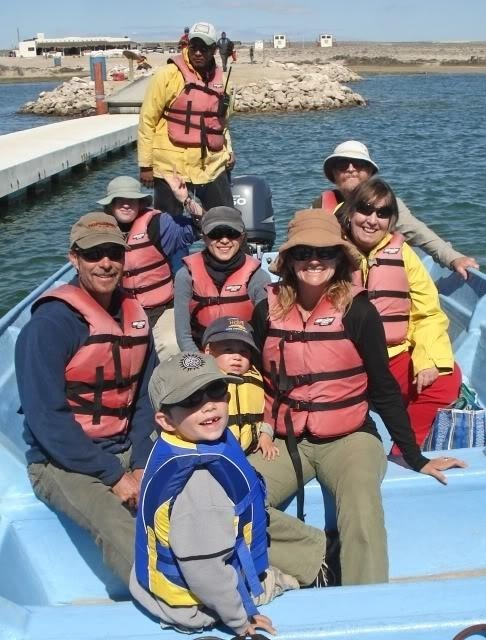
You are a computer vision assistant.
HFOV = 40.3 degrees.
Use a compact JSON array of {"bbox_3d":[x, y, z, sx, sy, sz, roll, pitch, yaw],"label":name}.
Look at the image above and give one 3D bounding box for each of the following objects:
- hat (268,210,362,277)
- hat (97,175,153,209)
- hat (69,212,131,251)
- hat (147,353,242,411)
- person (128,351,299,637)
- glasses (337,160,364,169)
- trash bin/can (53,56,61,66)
[{"bbox_3d":[0.285,-0.320,2.715,0.289,0.144,0.309,-1,0,5],"label":"hat"},{"bbox_3d":[-0.742,-0.759,4.019,0.277,0.110,0.263,6,13,32],"label":"hat"},{"bbox_3d":[-0.599,-0.366,2.706,0.187,0.111,0.237,0,4,-19],"label":"hat"},{"bbox_3d":[-0.151,0.180,1.915,0.181,0.102,0.219,-15,-10,-30],"label":"hat"},{"bbox_3d":[-0.101,0.559,1.932,0.510,0.833,0.522,-1,22,4],"label":"person"},{"bbox_3d":[0.674,-0.967,4.119,0.096,0.022,0.083,-3,-18,16],"label":"glasses"},{"bbox_3d":[-18.561,-25.878,66.465,0.705,1.023,3.210,-7,19,-11],"label":"trash bin/can"}]
